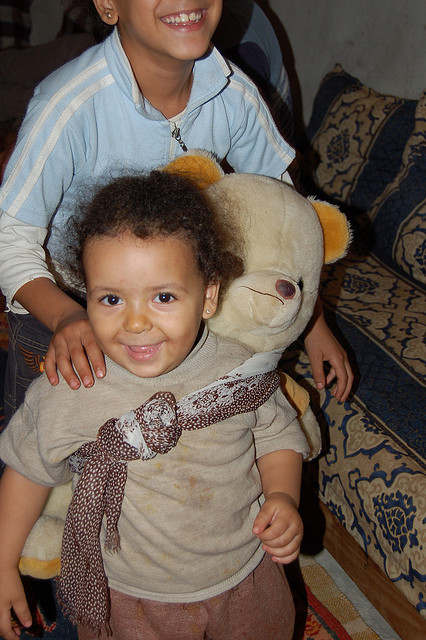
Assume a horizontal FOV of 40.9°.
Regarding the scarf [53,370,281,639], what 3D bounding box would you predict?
[{"bbox_3d":[-0.065,0.242,0.758,0.389,0.322,0.102,-8,10,-2],"label":"scarf"}]
